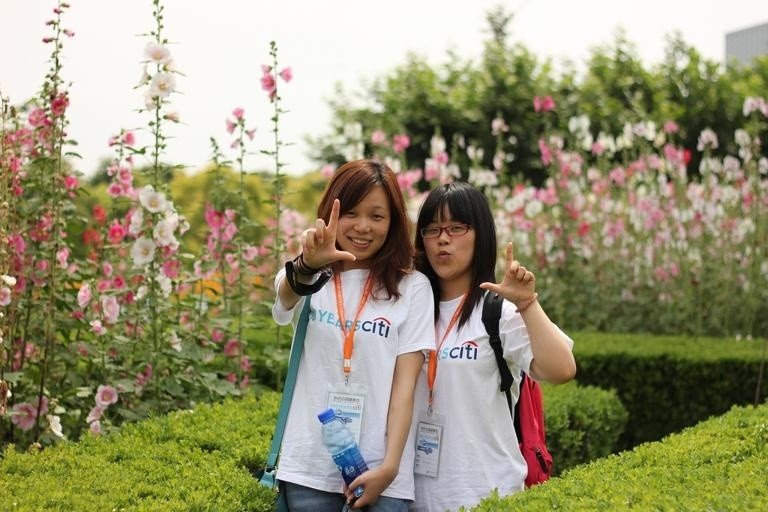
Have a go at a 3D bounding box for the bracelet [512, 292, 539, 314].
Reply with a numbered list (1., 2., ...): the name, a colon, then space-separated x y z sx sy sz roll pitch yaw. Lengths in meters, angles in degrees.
1. bracelet: 0.857 0.288 4.884 0.124 0.038 0.099 -43 2 3

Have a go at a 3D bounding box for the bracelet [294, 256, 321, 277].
1. bracelet: -0.477 0.057 4.833 0.119 0.066 0.136 -1 4 3
